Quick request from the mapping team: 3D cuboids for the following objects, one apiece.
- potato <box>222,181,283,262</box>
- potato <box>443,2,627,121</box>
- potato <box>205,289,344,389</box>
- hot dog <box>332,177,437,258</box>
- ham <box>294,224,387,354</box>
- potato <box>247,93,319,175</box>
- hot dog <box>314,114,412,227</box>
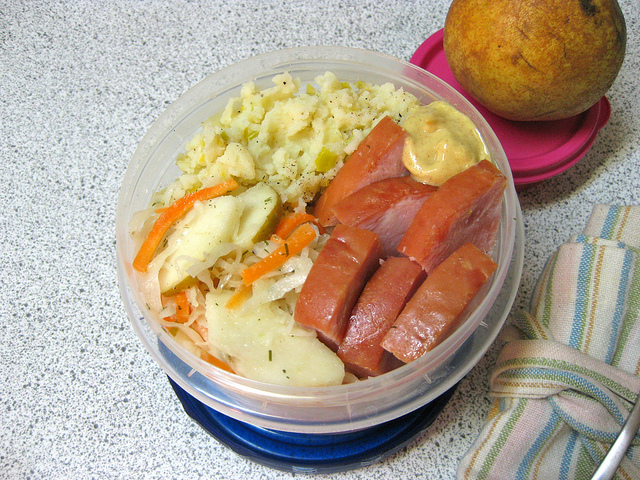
[{"bbox_3d":[-0.169,-0.054,1.598,0.130,0.053,0.193,9,74,27],"label":"potato"},{"bbox_3d":[0.572,-0.505,1.666,0.431,0.202,0.312,-3,84,-2],"label":"potato"},{"bbox_3d":[-0.112,0.246,1.505,0.286,0.208,0.237,-17,31,-20],"label":"potato"},{"bbox_3d":[0.178,-0.079,1.683,0.281,0.314,0.093,-6,74,0],"label":"hot dog"},{"bbox_3d":[0.044,0.105,1.527,0.149,0.128,0.296,28,84,2],"label":"ham"},{"bbox_3d":[-0.104,-0.293,1.596,0.150,0.231,0.129,-7,36,-4],"label":"potato"},{"bbox_3d":[0.117,-0.194,1.690,0.349,0.179,0.094,-50,21,2],"label":"hot dog"}]
